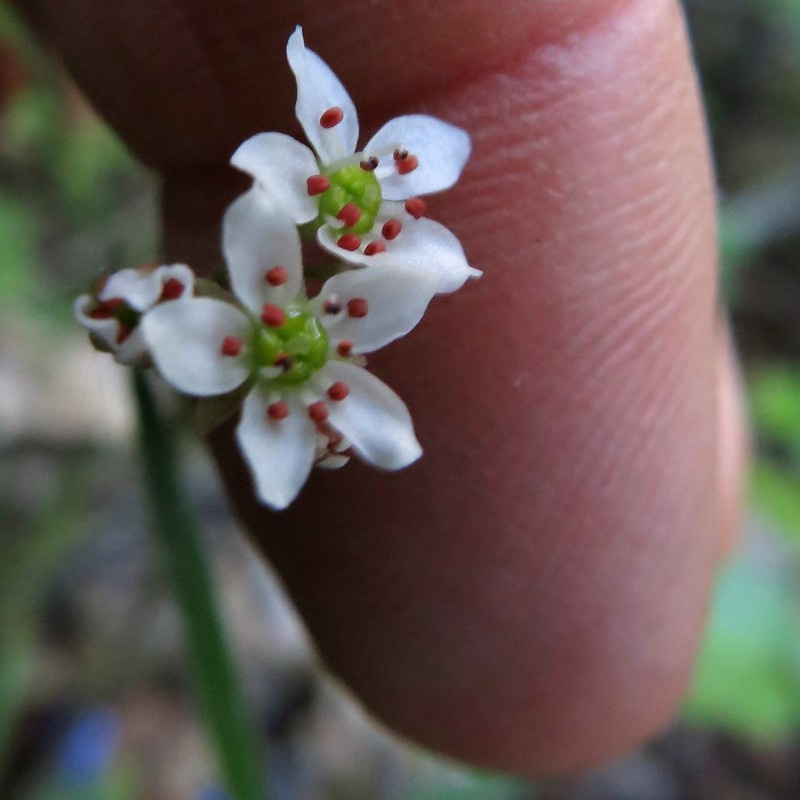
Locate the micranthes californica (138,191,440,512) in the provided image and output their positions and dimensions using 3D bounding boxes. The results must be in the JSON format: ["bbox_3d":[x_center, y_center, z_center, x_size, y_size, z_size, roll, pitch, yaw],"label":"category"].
[{"bbox_3d":[-0.087,-0.026,0.789,0.222,0.148,0.231,13,79,9],"label":"micranthes californica"}]

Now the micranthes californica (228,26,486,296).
[{"bbox_3d":[-0.030,-0.220,0.907,0.225,0.095,0.275,-30,102,-42],"label":"micranthes californica"}]
